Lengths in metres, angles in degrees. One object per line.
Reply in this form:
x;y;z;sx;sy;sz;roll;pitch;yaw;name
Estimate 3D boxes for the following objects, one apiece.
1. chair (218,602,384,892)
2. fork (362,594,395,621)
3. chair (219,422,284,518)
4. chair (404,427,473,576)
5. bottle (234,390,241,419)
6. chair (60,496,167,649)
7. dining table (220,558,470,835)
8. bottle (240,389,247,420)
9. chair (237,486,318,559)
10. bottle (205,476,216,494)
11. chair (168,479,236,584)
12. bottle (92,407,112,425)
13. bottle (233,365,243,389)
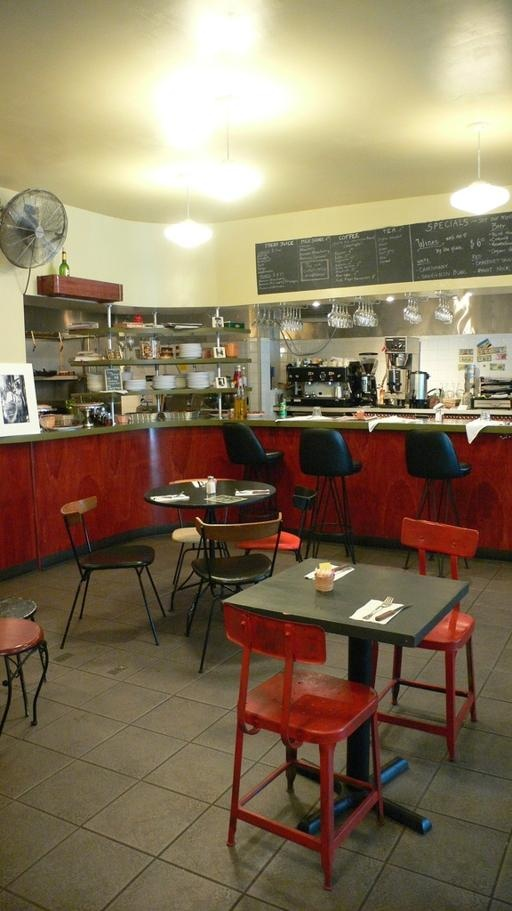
0.130;0.718;1.667;0.376;0.678;0.352;-6;6;-43;chair
0.338;0.413;1.670;0.032;0.035;0.217;2;12;23;fork
-0.005;0.153;5.508;0.463;1.007;0.556;5;12;44;chair
1.380;0.338;4.653;0.484;1.164;0.489;-6;11;-14;chair
-0.184;-0.494;6.135;0.067;0.251;0.209;-1;3;-2;bottle
-0.797;0.645;3.471;0.557;0.786;0.530;-3;8;-14;chair
0.321;0.604;2.031;0.627;1.008;0.668;2;7;27;dining table
-0.133;-0.523;6.154;0.098;0.307;0.342;-1;3;-2;bottle
0.134;0.505;3.834;0.386;0.632;0.348;7;7;9;chair
-0.267;0.180;3.724;0.067;0.136;0.099;0;-2;0;bottle
-0.360;0.403;4.405;0.342;0.572;0.328;2;-1;17;chair
-1.371;-0.358;5.505;0.157;0.166;0.184;-2;3;-17;bottle
-0.186;-0.792;6.318;0.092;0.215;0.266;-1;3;-3;bottle
